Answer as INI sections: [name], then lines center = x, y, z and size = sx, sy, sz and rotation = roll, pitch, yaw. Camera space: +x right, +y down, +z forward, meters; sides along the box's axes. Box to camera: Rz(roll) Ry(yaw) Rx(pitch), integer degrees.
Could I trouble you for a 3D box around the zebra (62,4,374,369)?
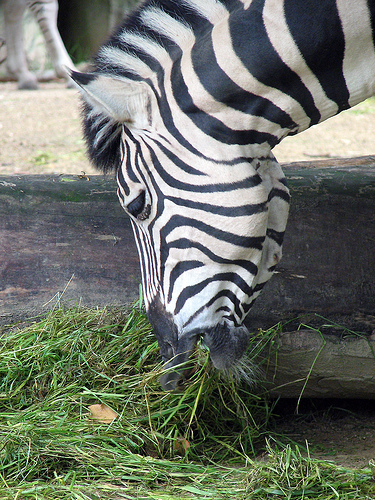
[zebra]
center = -0.005, -0.237, 2.381
size = 0.832, 1.252, 0.413
rotation = 23, 26, 11
